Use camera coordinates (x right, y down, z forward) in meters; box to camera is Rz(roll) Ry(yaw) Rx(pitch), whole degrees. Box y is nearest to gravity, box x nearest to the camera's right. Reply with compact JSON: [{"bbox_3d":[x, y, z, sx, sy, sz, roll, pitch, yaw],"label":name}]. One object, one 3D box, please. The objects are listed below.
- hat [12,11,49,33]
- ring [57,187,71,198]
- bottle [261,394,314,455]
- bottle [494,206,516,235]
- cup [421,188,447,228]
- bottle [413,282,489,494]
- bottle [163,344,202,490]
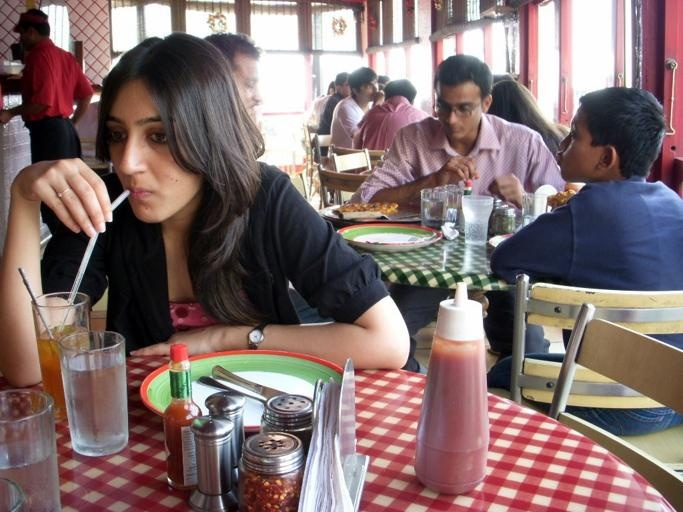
[{"bbox_3d":[-2.797,-2.103,4.934,0.258,0.148,0.186,3,15,2],"label":"hat"},{"bbox_3d":[-0.618,-0.141,1.225,0.024,0.012,0.027,-33,0,33],"label":"ring"},{"bbox_3d":[-0.077,0.247,0.834,0.074,0.085,0.075,2,11,-3],"label":"bottle"},{"bbox_3d":[0.683,-0.147,2.327,0.104,0.115,0.106,-1,6,0],"label":"bottle"},{"bbox_3d":[0.411,-0.213,2.461,0.106,0.170,0.139,0,11,9],"label":"cup"},{"bbox_3d":[0.179,0.201,0.854,0.133,0.338,0.084,-2,10,-6],"label":"bottle"},{"bbox_3d":[-0.245,0.243,0.842,0.055,0.246,0.133,-5,11,-19],"label":"bottle"}]
